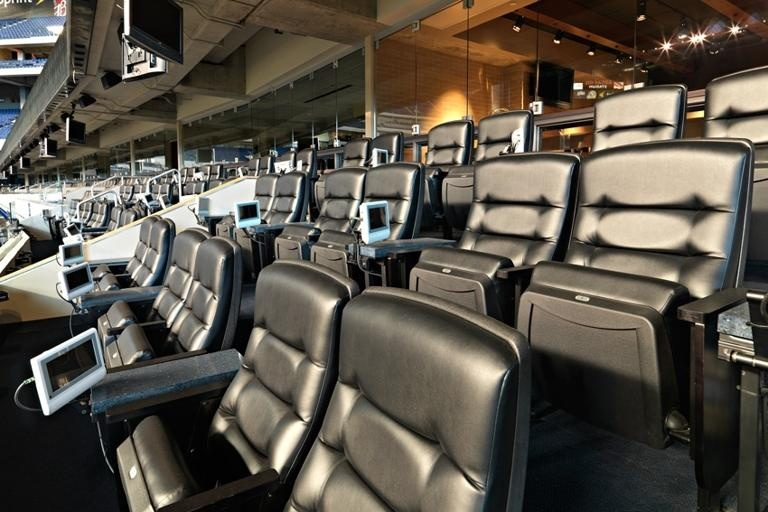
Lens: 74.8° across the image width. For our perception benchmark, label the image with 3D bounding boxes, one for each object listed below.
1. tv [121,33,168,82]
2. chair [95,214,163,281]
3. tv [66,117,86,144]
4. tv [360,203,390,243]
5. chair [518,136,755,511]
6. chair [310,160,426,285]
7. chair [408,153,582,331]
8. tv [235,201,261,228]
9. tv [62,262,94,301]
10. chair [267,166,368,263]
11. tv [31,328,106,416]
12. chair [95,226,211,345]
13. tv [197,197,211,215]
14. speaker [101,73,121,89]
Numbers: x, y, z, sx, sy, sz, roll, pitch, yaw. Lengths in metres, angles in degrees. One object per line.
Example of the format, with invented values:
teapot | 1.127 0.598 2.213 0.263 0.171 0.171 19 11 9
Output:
tv | -3.181 -2.600 6.645 0.563 0.584 0.125 -3 -2 10
chair | -2.425 -0.061 4.804 0.600 0.642 0.689 -4 9 -29
tv | -7.507 -3.043 12.262 0.375 0.647 1.097 -5 16 -32
tv | -0.054 -0.212 3.184 0.074 0.249 0.279 7 12 26
chair | 1.055 0.321 2.219 0.786 1.672 0.633 12 16 31
chair | -0.126 -0.228 3.393 0.699 0.836 0.585 1 4 -42
chair | 0.556 -0.060 2.653 0.764 0.943 0.638 -10 15 -43
tv | -1.201 -0.354 4.446 0.097 0.245 0.259 -3 2 44
tv | -2.199 0.190 3.598 0.082 0.240 0.269 -2 14 8
chair | -0.489 -0.289 3.982 0.543 0.814 0.662 10 13 42
tv | -1.350 0.513 2.180 0.263 0.330 0.178 -5 16 -31
chair | -1.391 0.159 3.301 0.840 0.958 0.674 0 4 -29
tv | -2.029 -0.555 5.686 0.150 0.151 0.278 4 42 -20
speaker | -5.775 -3.706 10.637 0.205 0.230 0.386 -12 41 -3
